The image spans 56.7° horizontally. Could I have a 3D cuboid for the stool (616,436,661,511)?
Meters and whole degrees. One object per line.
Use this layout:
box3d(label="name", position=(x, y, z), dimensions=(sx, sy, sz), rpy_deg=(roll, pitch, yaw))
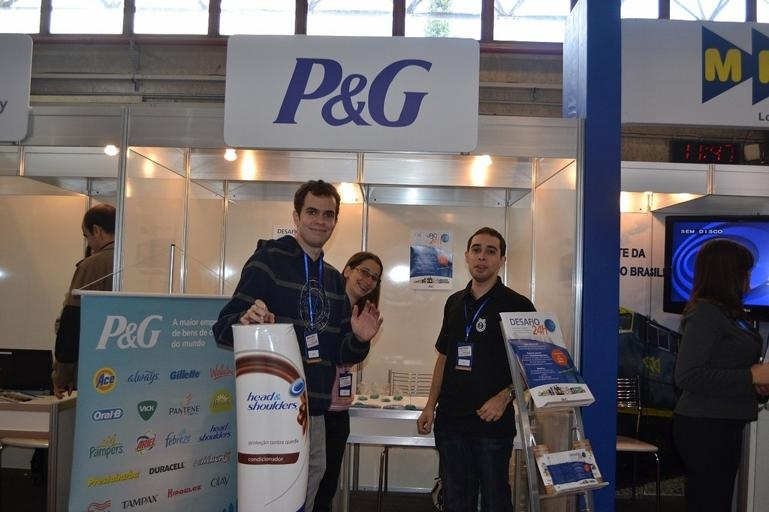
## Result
box3d(label="stool", position=(2.326, 2.007, 6.478), dimensions=(0.368, 0.704, 0.943), rpy_deg=(-1, -5, 21))

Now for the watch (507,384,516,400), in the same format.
box3d(label="watch", position=(0.904, 0.983, 5.117), dimensions=(0.062, 0.087, 0.094), rpy_deg=(9, -17, 9))

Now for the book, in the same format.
box3d(label="book", position=(1.140, 0.726, 4.977), dimensions=(0.580, 0.662, 0.263), rpy_deg=(2, -4, -17))

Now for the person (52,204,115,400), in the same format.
box3d(label="person", position=(-2.445, 0.351, 5.771), dimensions=(0.418, 1.599, 0.685), rpy_deg=(3, -5, -25))
